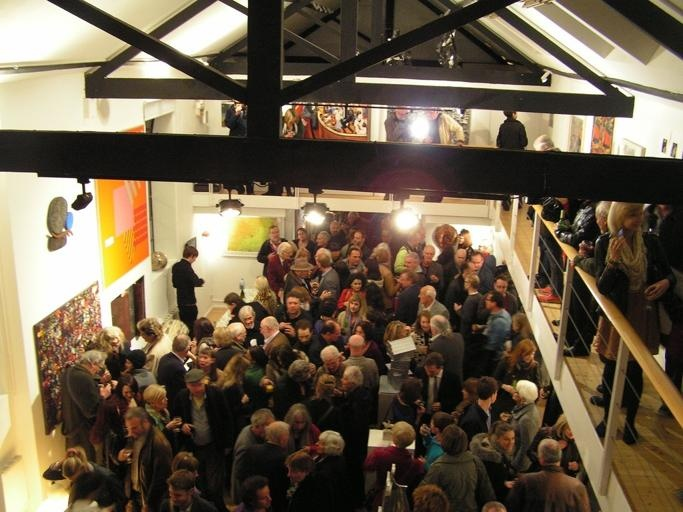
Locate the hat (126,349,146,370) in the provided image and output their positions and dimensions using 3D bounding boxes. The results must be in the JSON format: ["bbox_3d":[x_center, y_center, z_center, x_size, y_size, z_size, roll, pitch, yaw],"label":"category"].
[{"bbox_3d":[-2.153,1.105,5.972,0.170,0.199,0.216,27,-13,1],"label":"hat"}]

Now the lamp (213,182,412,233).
[{"bbox_3d":[-0.436,-0.795,9.262,3.630,0.938,0.668,4,11,7],"label":"lamp"}]

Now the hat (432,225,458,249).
[{"bbox_3d":[1.586,-0.331,8.639,0.344,0.423,0.356,-14,-28,16],"label":"hat"}]

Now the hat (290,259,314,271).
[{"bbox_3d":[-0.550,0.124,7.767,0.199,0.075,0.196,-5,11,-44],"label":"hat"}]
